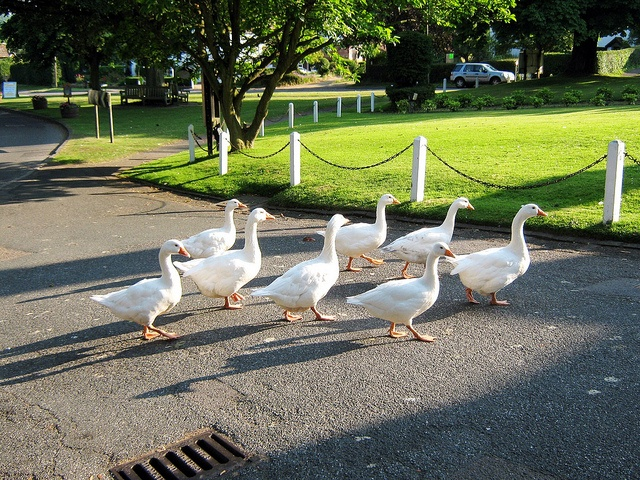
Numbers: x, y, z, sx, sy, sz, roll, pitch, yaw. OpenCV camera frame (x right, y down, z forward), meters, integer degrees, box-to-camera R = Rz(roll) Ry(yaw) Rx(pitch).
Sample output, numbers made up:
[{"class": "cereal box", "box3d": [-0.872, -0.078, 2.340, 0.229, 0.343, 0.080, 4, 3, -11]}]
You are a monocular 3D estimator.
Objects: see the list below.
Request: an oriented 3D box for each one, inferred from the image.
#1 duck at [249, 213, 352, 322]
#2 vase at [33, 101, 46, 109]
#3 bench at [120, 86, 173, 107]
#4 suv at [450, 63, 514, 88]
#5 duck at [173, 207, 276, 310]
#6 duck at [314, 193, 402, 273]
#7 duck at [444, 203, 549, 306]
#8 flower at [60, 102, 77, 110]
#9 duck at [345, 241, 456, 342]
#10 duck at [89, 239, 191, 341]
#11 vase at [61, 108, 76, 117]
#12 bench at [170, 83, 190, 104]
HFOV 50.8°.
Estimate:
[{"class": "duck", "box3d": [-0.232, 0.435, 10.161, 0.631, 1.292, 1.578, 10, 16, 35]}, {"class": "vase", "box3d": [-19.412, -9.381, 46.514, 0.837, 0.560, 0.666, -5, 14, -25]}, {"class": "bench", "box3d": [-12.661, -10.675, 49.302, 4.514, 1.443, 2.141, 5, 13, 21]}, {"class": "suv", "box3d": [12.481, -13.192, 53.214, 2.459, 1.934, 4.785, -5, 13, -23]}, {"class": "duck", "box3d": [-1.339, 0.182, 11.324, 2.267, 1.729, 1.110, -4, 15, -13]}, {"class": "duck", "box3d": [1.261, -0.158, 12.024, 2.199, 1.487, 0.925, 1, 10, 18]}, {"class": "duck", "box3d": [2.812, 0.228, 10.731, 1.563, 1.304, 0.686, -10, 17, -39]}, {"class": "flower", "box3d": [-15.383, -8.245, 41.142, 0.940, 0.289, 0.862, 0, 8, 1]}, {"class": "duck", "box3d": [1.193, 0.797, 9.763, 1.447, 1.378, 0.488, -2, 14, -10]}, {"class": "duck", "box3d": [-1.965, 0.797, 9.781, 1.982, 1.628, 1.011, -3, 13, -22]}, {"class": "vase", "box3d": [-15.233, -7.778, 40.876, 0.704, 0.336, 0.655, -3, 7, -26]}, {"class": "bench", "box3d": [-11.159, -11.642, 53.132, 1.339, 1.370, 7.755, -2, 12, -12]}]
